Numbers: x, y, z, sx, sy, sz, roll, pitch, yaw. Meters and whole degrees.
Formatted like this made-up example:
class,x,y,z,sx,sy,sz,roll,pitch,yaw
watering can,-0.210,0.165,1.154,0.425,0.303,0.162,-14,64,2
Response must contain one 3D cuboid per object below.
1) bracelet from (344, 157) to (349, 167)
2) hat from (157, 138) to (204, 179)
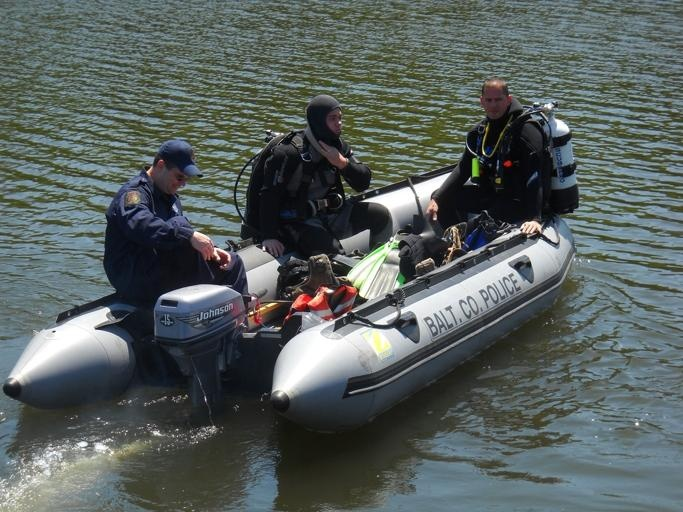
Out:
class,x,y,z,sx,sy,sz,roll,pitch,yaw
bracelet,0.057,-0.987,9.572,0.048,0.074,0.070,7,-5,-16
hat,-1.401,-0.888,8.400,0.514,0.215,0.283,23,17,-2
